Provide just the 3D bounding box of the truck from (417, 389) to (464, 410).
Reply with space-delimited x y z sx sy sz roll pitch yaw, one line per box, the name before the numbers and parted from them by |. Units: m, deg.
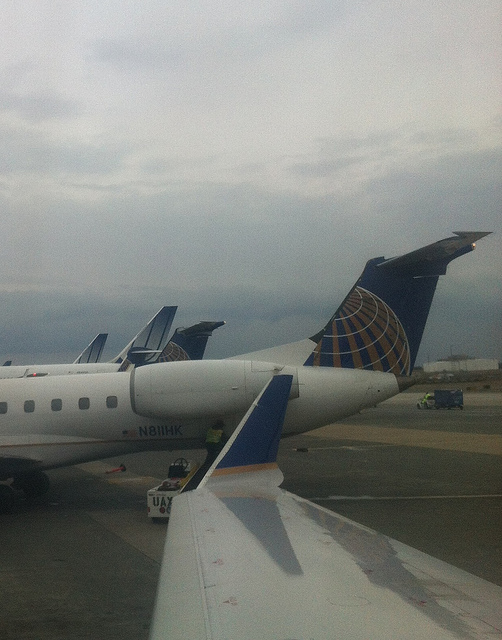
truck | 12.328 5.142 44.155 2.380 0.872 1.430 -3 -1 24
